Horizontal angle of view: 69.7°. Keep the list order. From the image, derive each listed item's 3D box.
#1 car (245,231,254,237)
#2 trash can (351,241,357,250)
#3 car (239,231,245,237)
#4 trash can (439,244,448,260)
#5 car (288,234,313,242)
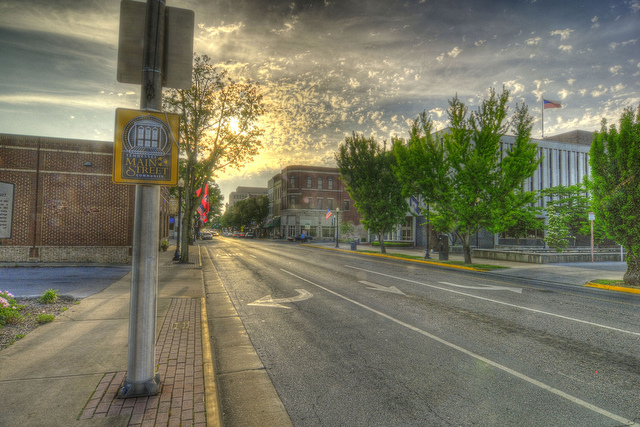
[{"bbox_3d":[-12.694,3.643,82.116,1.472,0.878,2.743,2,0,-13],"label":"car"},{"bbox_3d":[3.228,3.018,44.020,0.642,0.915,0.669,1,3,1],"label":"trash can"},{"bbox_3d":[-16.657,4.273,97.762,0.933,0.924,1.619,2,2,2],"label":"car"},{"bbox_3d":[8.398,2.580,31.502,0.552,0.816,0.567,-2,-2,26],"label":"trash can"},{"bbox_3d":[-2.713,3.344,64.700,2.139,0.735,1.227,3,-7,8],"label":"car"}]
